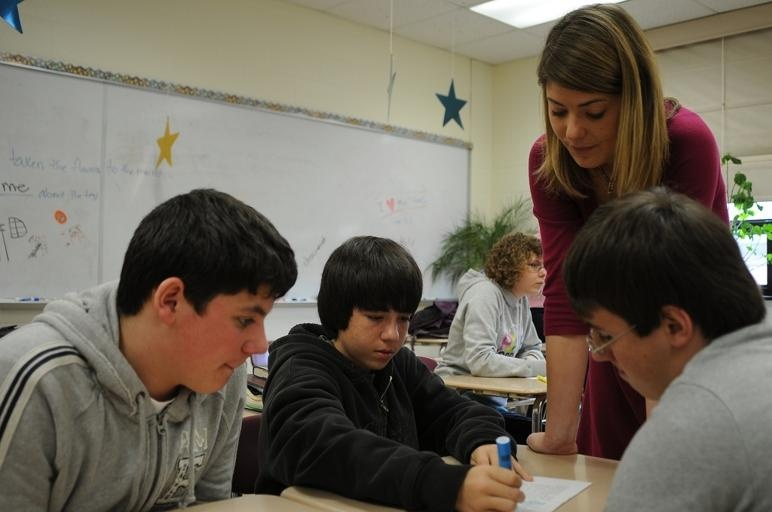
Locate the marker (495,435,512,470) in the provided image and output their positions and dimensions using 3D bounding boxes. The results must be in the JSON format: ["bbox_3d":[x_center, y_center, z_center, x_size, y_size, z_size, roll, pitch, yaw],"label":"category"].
[{"bbox_3d":[0.283,0.484,1.332,0.023,0.086,0.020,-1,23,23],"label":"marker"}]

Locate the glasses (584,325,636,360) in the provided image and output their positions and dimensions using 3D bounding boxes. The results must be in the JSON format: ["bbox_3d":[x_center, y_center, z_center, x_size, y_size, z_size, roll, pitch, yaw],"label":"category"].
[{"bbox_3d":[0.453,0.173,1.112,0.068,0.021,0.066,-23,-6,-2],"label":"glasses"}]
